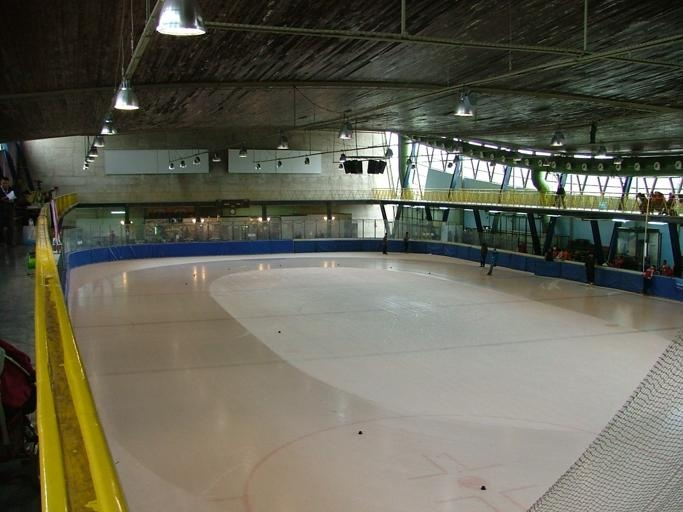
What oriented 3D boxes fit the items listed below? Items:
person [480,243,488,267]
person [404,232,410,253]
[{"bbox_3d":[8.807,-0.132,30.449,0.415,1.419,1.735,2,8,16],"label":"person"},{"bbox_3d":[4.953,-1.044,37.639,0.419,1.529,1.119,1,8,7],"label":"person"}]
